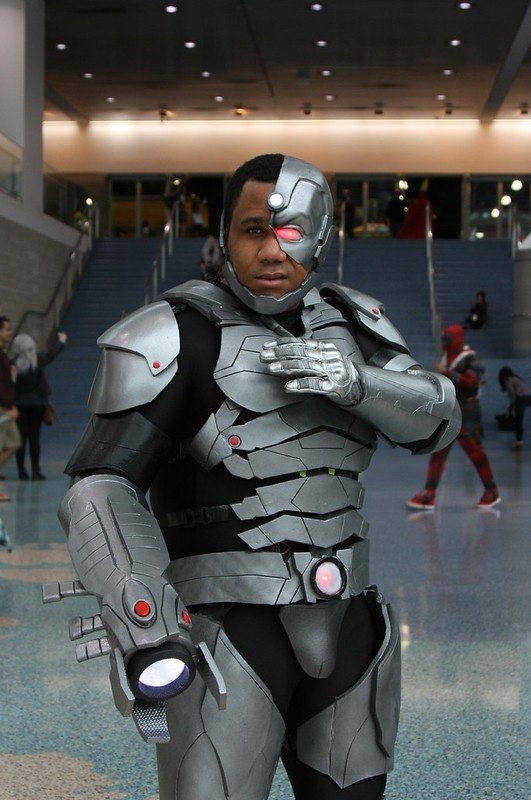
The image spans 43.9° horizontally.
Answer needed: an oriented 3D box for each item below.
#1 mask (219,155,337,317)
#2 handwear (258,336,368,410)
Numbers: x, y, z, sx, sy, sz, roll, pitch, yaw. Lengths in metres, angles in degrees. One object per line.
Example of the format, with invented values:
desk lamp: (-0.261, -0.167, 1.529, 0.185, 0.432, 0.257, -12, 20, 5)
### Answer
mask: (0.014, -0.251, 0.975, 0.165, 0.209, 0.219, 6, 19, 5)
handwear: (0.060, -0.036, 0.821, 0.118, 0.068, 0.034, 8, -36, -43)
